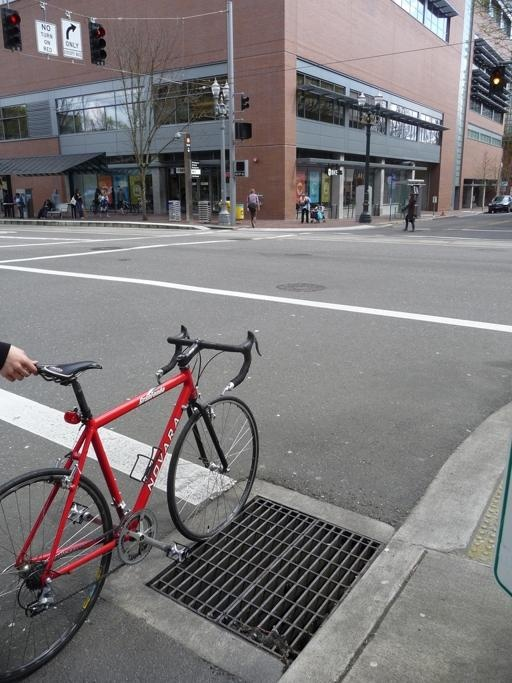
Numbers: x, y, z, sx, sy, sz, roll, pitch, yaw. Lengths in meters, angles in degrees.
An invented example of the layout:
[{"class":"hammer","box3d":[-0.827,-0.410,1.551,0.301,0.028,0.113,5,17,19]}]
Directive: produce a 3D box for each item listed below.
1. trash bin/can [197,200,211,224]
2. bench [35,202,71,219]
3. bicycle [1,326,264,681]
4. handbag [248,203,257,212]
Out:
[{"class":"trash bin/can","box3d":[-3.229,-8.081,30.844,0.676,1.341,2.569,-2,13,-8]},{"class":"bench","box3d":[-14.609,-9.497,35.636,1.810,1.326,2.595,-3,13,-9]},{"class":"bicycle","box3d":[-0.498,0.514,2.093,0.397,1.073,1.435,6,14,29]},{"class":"handbag","box3d":[-0.217,-7.024,26.117,0.290,0.477,0.603,4,13,19]}]
